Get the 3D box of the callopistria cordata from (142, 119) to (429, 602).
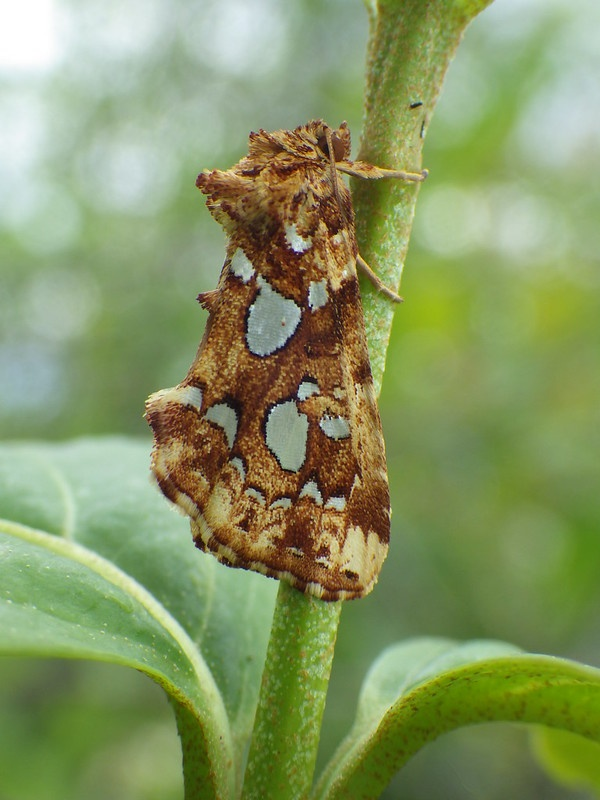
[{"bbox_3d":[-0.001,-0.032,0.661,0.159,0.217,0.089,13,5,28],"label":"callopistria cordata"}]
